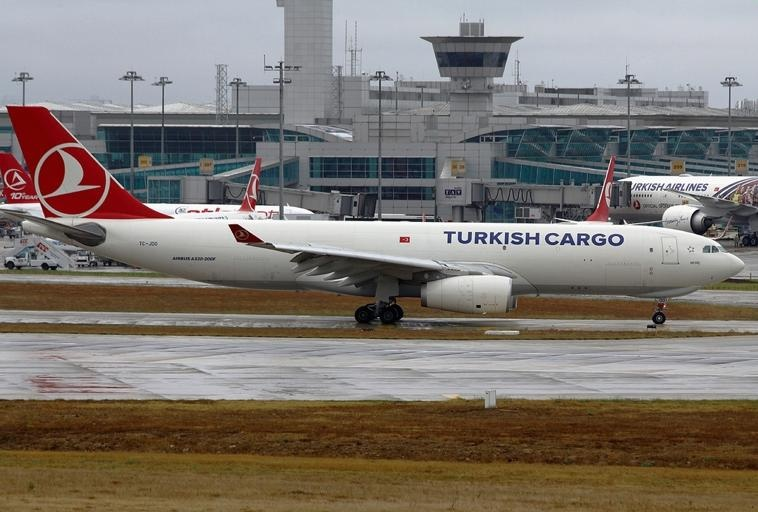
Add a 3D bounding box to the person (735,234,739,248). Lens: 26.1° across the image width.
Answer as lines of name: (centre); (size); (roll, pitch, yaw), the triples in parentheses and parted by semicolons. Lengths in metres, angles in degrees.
person: (28.990, -1.190, 132.296); (0.429, 1.207, 0.495); (1, -32, 15)
